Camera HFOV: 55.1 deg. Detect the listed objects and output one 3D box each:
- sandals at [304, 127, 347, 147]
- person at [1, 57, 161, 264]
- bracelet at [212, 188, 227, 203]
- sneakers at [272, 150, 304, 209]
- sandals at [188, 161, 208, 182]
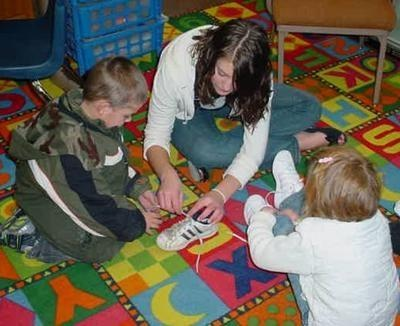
[{"bbox_3d":[0.739,-0.149,2.210,0.259,0.089,0.069,10,6,13],"label":"sandals"},{"bbox_3d":[-0.536,0.024,1.640,0.753,0.744,0.475,-14,42,-12],"label":"person"},{"bbox_3d":[0.087,0.148,1.766,0.065,0.059,0.034,24,49,29],"label":"bracelet"},{"bbox_3d":[0.454,0.070,1.939,0.116,0.302,0.124,3,-4,-39],"label":"sneakers"},{"bbox_3d":[-0.017,0.023,2.109,0.065,0.053,0.158,-1,49,-38],"label":"sandals"}]
